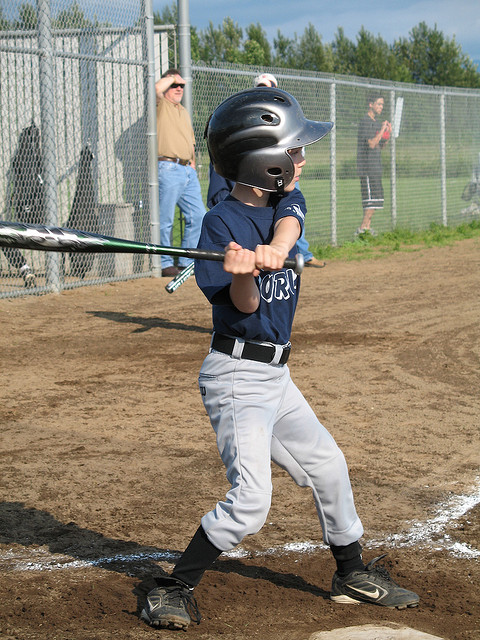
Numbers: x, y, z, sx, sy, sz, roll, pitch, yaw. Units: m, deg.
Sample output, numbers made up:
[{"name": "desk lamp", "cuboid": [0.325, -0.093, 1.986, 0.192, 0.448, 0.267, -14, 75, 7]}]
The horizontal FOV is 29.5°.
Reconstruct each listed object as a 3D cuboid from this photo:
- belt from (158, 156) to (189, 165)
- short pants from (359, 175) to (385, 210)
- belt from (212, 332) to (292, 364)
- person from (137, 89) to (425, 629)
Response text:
[{"name": "belt", "cuboid": [-0.633, -1.491, 8.515, 0.275, 0.075, 0.083, -1, 14, -7]}, {"name": "short pants", "cuboid": [1.750, -1.699, 12.152, 0.382, 0.459, 0.240, -3, 15, -15]}, {"name": "belt", "cuboid": [0.035, 0.094, 2.761, 0.240, 0.106, 0.130, 0, 14, -3]}, {"name": "person", "cuboid": [0.046, 0.107, 2.777, 0.800, 1.584, 0.610, -3, 15, -13]}]
